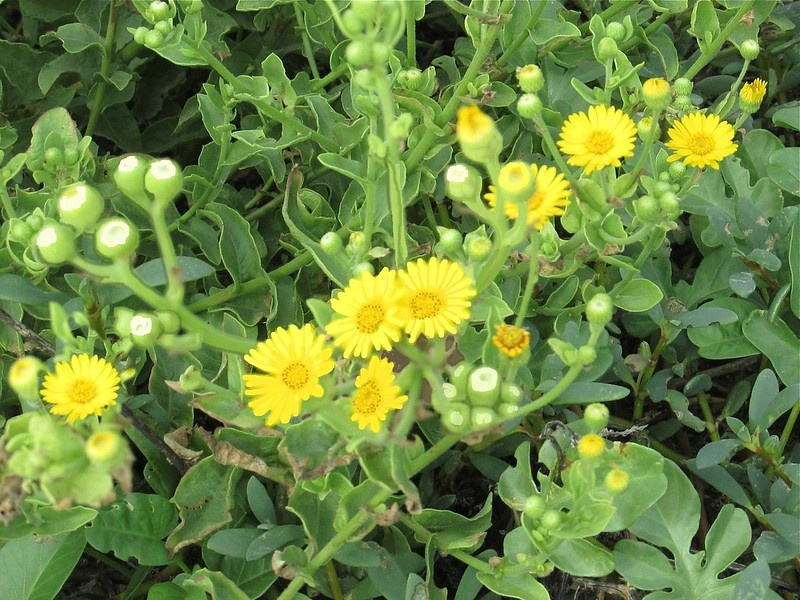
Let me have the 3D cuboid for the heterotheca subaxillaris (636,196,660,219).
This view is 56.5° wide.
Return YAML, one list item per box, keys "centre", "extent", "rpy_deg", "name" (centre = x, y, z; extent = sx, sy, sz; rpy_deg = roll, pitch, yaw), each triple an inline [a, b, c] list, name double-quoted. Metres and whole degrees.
- centre: [0.512, -0.187, 1.552]
  extent: [0.041, 0.027, 0.047]
  rpy_deg: [-8, 80, 20]
  name: "heterotheca subaxillaris"

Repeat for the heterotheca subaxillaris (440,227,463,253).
- centre: [0.105, -0.117, 1.507]
  extent: [0.047, 0.048, 0.049]
  rpy_deg: [9, 85, 1]
  name: "heterotheca subaxillaris"

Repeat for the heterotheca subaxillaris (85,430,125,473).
- centre: [-0.459, 0.232, 1.148]
  extent: [0.051, 0.034, 0.057]
  rpy_deg: [-5, 68, -7]
  name: "heterotheca subaxillaris"

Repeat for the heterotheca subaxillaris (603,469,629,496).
- centre: [0.407, 0.337, 1.393]
  extent: [0.044, 0.052, 0.052]
  rpy_deg: [1, 43, 5]
  name: "heterotheca subaxillaris"

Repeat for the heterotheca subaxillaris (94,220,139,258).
- centre: [-0.501, -0.104, 1.331]
  extent: [0.066, 0.034, 0.069]
  rpy_deg: [37, 85, 1]
  name: "heterotheca subaxillaris"

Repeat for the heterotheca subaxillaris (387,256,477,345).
- centre: [0.050, -0.001, 1.415]
  extent: [0.168, 0.074, 0.190]
  rpy_deg: [-3, 47, 14]
  name: "heterotheca subaxillaris"

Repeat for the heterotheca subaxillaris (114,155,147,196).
- centre: [-0.503, -0.229, 1.389]
  extent: [0.062, 0.065, 0.072]
  rpy_deg: [-8, 86, 0]
  name: "heterotheca subaxillaris"

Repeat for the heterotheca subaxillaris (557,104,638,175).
- centre: [0.456, -0.375, 1.696]
  extent: [0.145, 0.168, 0.061]
  rpy_deg: [1, 75, 19]
  name: "heterotheca subaxillaris"

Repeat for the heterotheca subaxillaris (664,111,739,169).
- centre: [0.723, -0.399, 1.774]
  extent: [0.147, 0.154, 0.043]
  rpy_deg: [11, 93, -33]
  name: "heterotheca subaxillaris"

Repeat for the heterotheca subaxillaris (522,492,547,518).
- centre: [0.265, 0.399, 1.447]
  extent: [0.038, 0.047, 0.041]
  rpy_deg: [-3, 88, 45]
  name: "heterotheca subaxillaris"

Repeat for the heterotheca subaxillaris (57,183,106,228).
- centre: [-0.588, -0.173, 1.368]
  extent: [0.072, 0.052, 0.080]
  rpy_deg: [25, 86, 3]
  name: "heterotheca subaxillaris"

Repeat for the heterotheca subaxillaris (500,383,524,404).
- centre: [0.229, 0.189, 1.510]
  extent: [0.047, 0.041, 0.038]
  rpy_deg: [11, 85, 2]
  name: "heterotheca subaxillaris"

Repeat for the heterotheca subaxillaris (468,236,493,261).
- centre: [0.157, -0.099, 1.469]
  extent: [0.045, 0.076, 0.049]
  rpy_deg: [4, 85, 1]
  name: "heterotheca subaxillaris"

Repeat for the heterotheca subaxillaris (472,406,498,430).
- centre: [0.165, 0.223, 1.420]
  extent: [0.044, 0.083, 0.038]
  rpy_deg: [-2, 85, 1]
  name: "heterotheca subaxillaris"

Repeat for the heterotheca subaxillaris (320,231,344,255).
- centre: [-0.135, -0.121, 1.529]
  extent: [0.050, 0.044, 0.049]
  rpy_deg: [3, 81, -37]
  name: "heterotheca subaxillaris"

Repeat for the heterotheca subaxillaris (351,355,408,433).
- centre: [-0.046, 0.172, 1.404]
  extent: [0.132, 0.148, 0.047]
  rpy_deg: [33, 108, -8]
  name: "heterotheca subaxillaris"

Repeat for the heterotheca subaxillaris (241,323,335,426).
- centre: [-0.194, 0.129, 1.405]
  extent: [0.174, 0.193, 0.068]
  rpy_deg: [6, 98, 29]
  name: "heterotheca subaxillaris"

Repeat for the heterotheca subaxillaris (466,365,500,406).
- centre: [0.170, 0.166, 1.522]
  extent: [0.063, 0.073, 0.072]
  rpy_deg: [14, 62, 15]
  name: "heterotheca subaxillaris"

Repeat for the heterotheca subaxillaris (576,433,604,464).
- centre: [0.356, 0.271, 1.382]
  extent: [0.042, 0.027, 0.053]
  rpy_deg: [15, 89, 11]
  name: "heterotheca subaxillaris"

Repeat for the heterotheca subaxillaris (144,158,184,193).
- centre: [-0.448, -0.230, 1.410]
  extent: [0.063, 0.055, 0.066]
  rpy_deg: [-5, 85, 0]
  name: "heterotheca subaxillaris"

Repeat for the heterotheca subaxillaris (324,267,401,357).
- centre: [-0.061, 0.022, 1.373]
  extent: [0.174, 0.207, 0.055]
  rpy_deg: [6, 118, 13]
  name: "heterotheca subaxillaris"

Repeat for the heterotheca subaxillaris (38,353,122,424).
- centre: [-0.648, 0.178, 1.515]
  extent: [0.136, 0.059, 0.132]
  rpy_deg: [-30, 54, -33]
  name: "heterotheca subaxillaris"

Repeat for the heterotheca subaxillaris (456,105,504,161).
- centre: [0.141, -0.297, 1.321]
  extent: [0.078, 0.141, 0.085]
  rpy_deg: [3, 85, 1]
  name: "heterotheca subaxillaris"
